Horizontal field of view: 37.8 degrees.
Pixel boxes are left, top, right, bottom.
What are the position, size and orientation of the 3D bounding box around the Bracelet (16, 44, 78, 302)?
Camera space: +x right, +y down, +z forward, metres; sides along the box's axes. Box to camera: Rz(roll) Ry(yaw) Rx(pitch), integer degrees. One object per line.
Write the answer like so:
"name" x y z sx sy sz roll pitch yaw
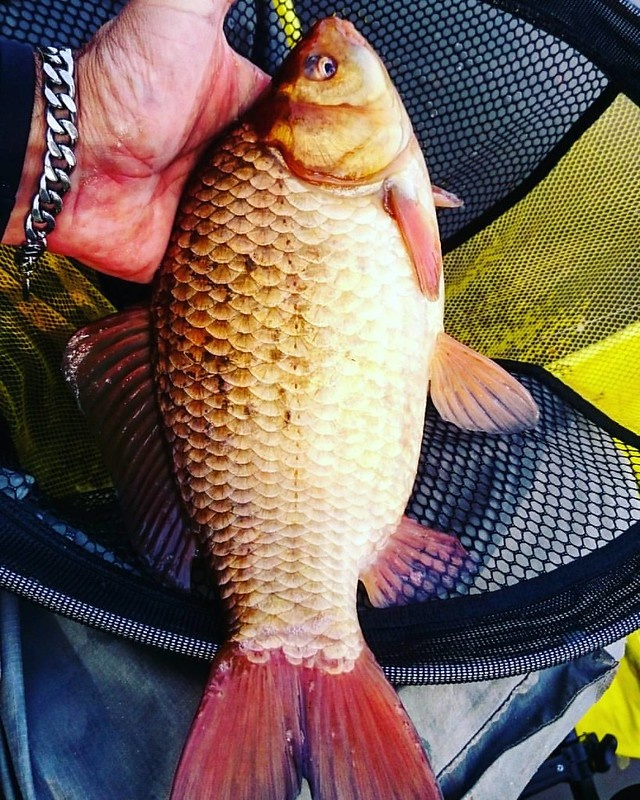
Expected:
"Bracelet" -0.374 -0.303 1.263 0.072 0.057 0.348 0 104 -13
